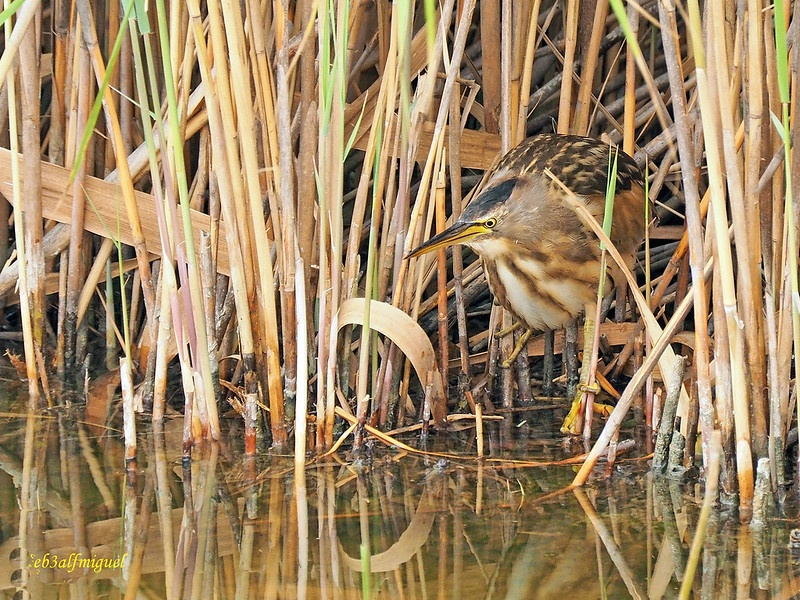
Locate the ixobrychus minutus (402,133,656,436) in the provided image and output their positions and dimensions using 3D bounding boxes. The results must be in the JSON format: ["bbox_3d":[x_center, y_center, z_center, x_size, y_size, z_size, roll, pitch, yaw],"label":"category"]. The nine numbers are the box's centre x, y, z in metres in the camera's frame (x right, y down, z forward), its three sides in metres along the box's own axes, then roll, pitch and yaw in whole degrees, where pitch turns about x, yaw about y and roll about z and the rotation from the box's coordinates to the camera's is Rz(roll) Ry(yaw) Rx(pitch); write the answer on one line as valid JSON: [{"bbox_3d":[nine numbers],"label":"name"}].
[{"bbox_3d":[0.455,-0.105,3.319,0.548,0.803,0.769,6,13,14],"label":"ixobrychus minutus"}]
